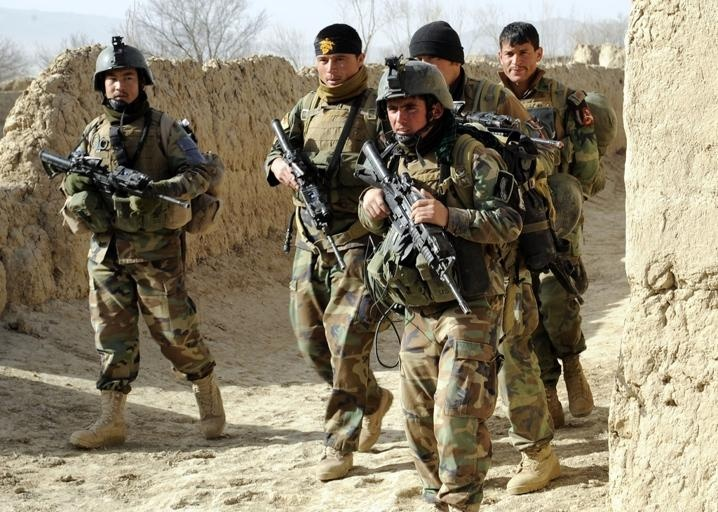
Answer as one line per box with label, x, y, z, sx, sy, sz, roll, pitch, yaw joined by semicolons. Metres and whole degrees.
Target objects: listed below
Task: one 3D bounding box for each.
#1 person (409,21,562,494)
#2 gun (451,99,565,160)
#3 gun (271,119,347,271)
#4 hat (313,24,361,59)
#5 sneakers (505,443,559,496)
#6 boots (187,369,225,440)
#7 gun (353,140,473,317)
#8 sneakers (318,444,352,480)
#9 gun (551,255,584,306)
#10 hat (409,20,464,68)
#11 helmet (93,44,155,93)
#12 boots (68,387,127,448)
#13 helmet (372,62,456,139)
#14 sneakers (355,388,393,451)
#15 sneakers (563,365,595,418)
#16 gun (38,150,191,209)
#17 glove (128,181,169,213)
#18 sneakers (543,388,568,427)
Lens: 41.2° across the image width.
person;0.904;0.010;6.146;1.099;2.552;1.024;11;33;19
gun;0.883;-0.781;5.982;0.808;0.278;0.175;26;36;22
gun;-0.359;-0.435;6.591;0.222;1.010;0.774;-9;11;-20
hat;-0.150;-1.512;6.671;0.393;0.215;0.364;-1;5;3
sneakers;1.067;1.317;6.067;0.454;0.272;0.164;-16;9;-40
boots;-1.124;1.130;7.356;0.202;0.530;0.243;-13;-2;3
gun;0.322;-0.173;5.579;0.255;1.217;0.511;-13;-28;-33
sneakers;-0.182;1.375;6.392;0.250;0.204;0.149;-5;10;-6
gun;1.428;0.171;6.722;0.090;0.393;0.144;-41;-2;18
hat;0.475;-1.445;6.532;0.478;0.286;0.442;-14;21;-34
helmet;-1.724;-1.372;6.913;0.396;0.285;0.385;-9;-4;-6
boots;-1.879;1.175;6.922;0.192;0.369;0.502;3;-3;25
helmet;0.256;-0.939;5.660;0.407;0.394;0.537;2;5;28
sneakers;0.083;1.190;6.930;0.220;0.466;0.167;12;10;-44
sneakers;1.570;0.992;7.140;0.162;0.176;0.440;-14;44;14
gun;-1.711;-0.559;6.897;1.181;0.296;0.198;17;47;18
glove;-1.490;-0.403;6.754;0.255;0.219;0.088;-7;10;-18
sneakers;1.379;1.104;6.984;0.132;0.344;0.141;-9;-18;6
